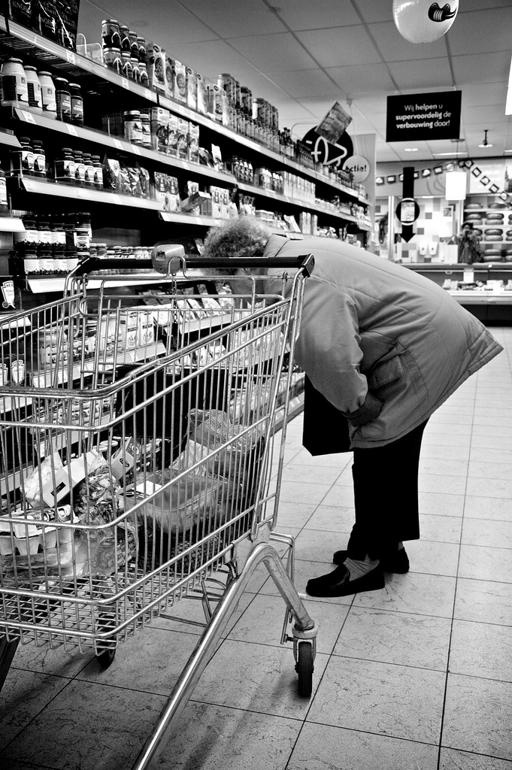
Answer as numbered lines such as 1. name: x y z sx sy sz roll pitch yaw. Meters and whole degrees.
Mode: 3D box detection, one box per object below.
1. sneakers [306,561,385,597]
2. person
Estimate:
1. sneakers: 0.297 0.630 1.910 0.250 0.124 0.103 -2 4 -10
2. person: 0.281 0.061 1.821 0.813 1.127 0.543 -3 15 -1
